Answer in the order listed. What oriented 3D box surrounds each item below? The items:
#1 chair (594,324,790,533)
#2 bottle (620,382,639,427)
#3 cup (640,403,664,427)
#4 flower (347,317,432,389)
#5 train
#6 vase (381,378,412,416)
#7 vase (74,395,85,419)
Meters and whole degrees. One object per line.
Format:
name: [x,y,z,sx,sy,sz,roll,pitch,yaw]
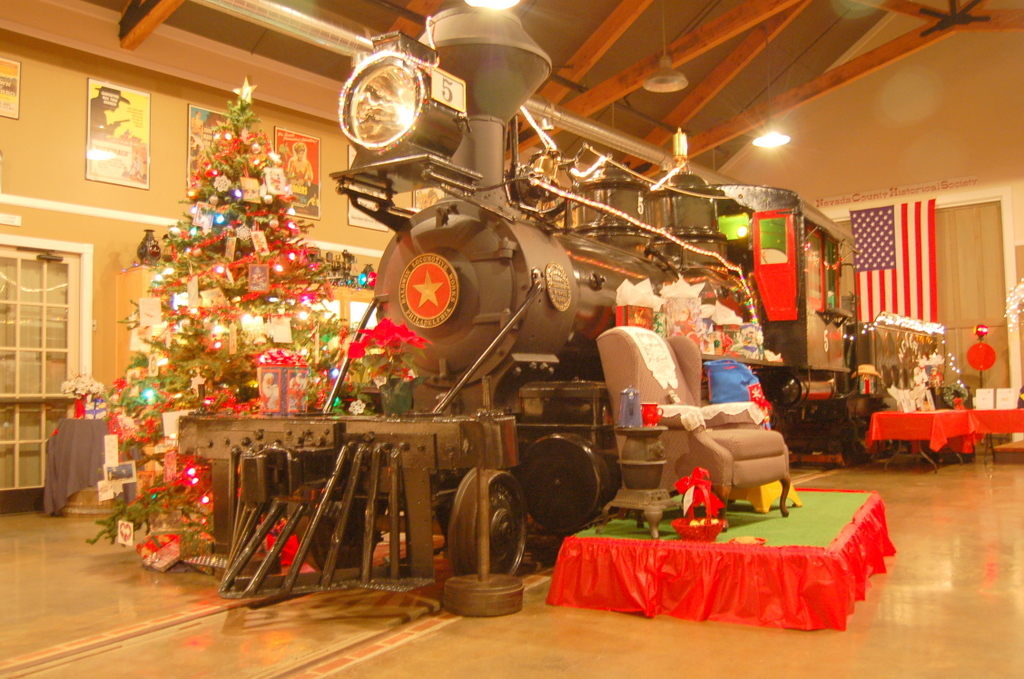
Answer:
chair: [1.282,0.720,5.832,1.497,1.632,1.470,-8,-13,34]
bottle: [0.759,0.450,4.896,0.134,0.258,0.143,-2,0,0]
cup: [0.946,0.493,4.900,0.106,0.148,0.162,-11,-12,43]
flower: [-0.867,0.121,5.065,0.542,0.445,0.526,-12,15,-43]
train: [0.975,-0.528,6.738,2.960,4.130,6.190,-2,0,24]
vase: [-0.734,0.367,4.798,0.197,0.238,0.214,-2,0,-10]
vase: [-4.922,0.773,8.518,0.114,0.253,0.247,-2,0,-31]
